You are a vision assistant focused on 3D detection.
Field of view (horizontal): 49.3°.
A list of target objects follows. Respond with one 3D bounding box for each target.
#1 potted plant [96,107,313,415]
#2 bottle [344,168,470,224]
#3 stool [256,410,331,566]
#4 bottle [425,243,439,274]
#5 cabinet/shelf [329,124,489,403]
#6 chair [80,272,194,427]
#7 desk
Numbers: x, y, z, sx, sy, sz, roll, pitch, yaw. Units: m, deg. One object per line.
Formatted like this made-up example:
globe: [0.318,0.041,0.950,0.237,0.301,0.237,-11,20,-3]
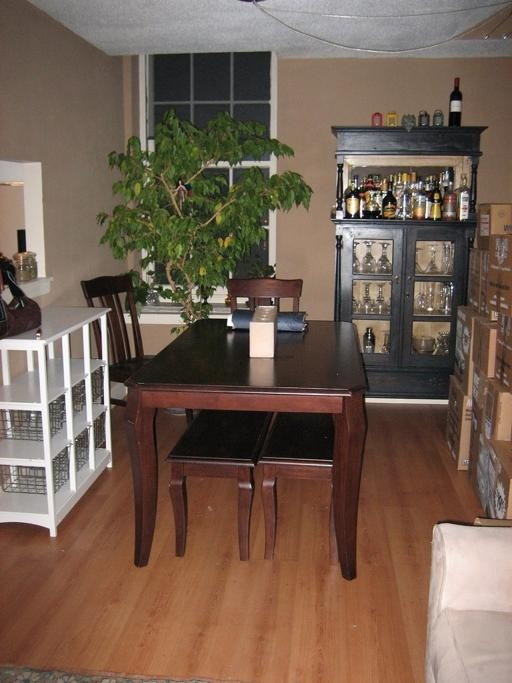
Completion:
potted plant: [-0.310,-0.695,3.655,1.429,1.609,1.017,-15,12,-7]
bottle: [1.032,-1.051,3.969,0.910,0.405,0.399,1,8,7]
stool: [0.139,0.607,2.186,0.246,0.368,0.623,2,-6,-1]
bottle: [1.227,-0.581,3.880,0.064,0.202,0.021,3,9,18]
cabinet/shelf: [1.074,-0.518,4.079,0.972,1.978,0.476,1,-2,17]
chair: [-0.909,0.188,3.419,0.483,0.915,0.606,-16,-11,-44]
desk: [-0.009,0.577,2.193,0.681,0.629,1.203,4,20,7]
